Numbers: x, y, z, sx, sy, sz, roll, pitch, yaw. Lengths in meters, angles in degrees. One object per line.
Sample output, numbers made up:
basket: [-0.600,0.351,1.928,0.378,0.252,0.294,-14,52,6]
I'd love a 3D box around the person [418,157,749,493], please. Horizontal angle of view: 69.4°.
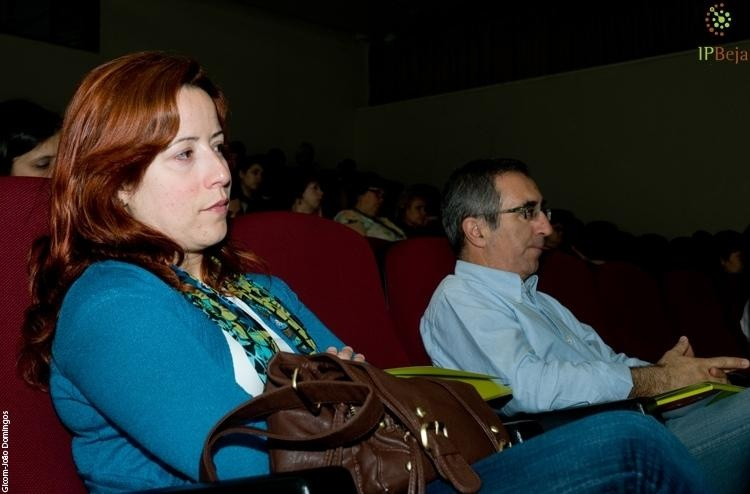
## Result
person: [0.576,0.262,2.040,1.272,0.969,0.712,-13,-12,33]

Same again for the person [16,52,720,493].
person: [-0.116,0.131,1.446,1.508,1.053,0.726,-8,-8,20]

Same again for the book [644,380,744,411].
book: [0.838,0.395,1.423,0.169,0.023,0.219,-11,-16,2]

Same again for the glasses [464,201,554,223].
glasses: [0.524,-0.129,1.928,0.182,0.048,0.141,-7,-7,9]
